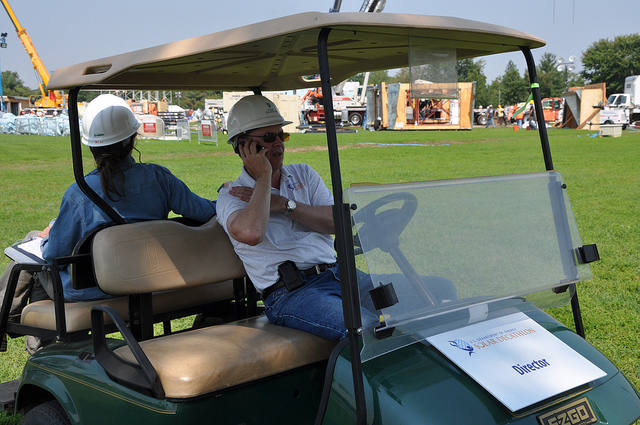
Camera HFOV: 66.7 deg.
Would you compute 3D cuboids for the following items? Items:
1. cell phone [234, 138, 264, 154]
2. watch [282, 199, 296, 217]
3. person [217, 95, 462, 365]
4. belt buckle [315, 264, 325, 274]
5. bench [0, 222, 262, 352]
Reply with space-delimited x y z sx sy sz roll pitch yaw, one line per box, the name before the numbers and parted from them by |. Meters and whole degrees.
cell phone | -0.428 -0.385 2.770 0.096 0.054 0.134 -2 1 -42
watch | -0.167 -0.024 2.638 0.052 0.085 0.079 20 -17 -28
person | 0.086 0.078 2.517 1.545 1.209 0.837 13 24 34
belt buckle | -0.014 0.308 2.626 0.023 0.039 0.040 -12 17 -41
bench | -1.066 0.415 2.747 0.757 0.418 0.366 -5 8 -39
